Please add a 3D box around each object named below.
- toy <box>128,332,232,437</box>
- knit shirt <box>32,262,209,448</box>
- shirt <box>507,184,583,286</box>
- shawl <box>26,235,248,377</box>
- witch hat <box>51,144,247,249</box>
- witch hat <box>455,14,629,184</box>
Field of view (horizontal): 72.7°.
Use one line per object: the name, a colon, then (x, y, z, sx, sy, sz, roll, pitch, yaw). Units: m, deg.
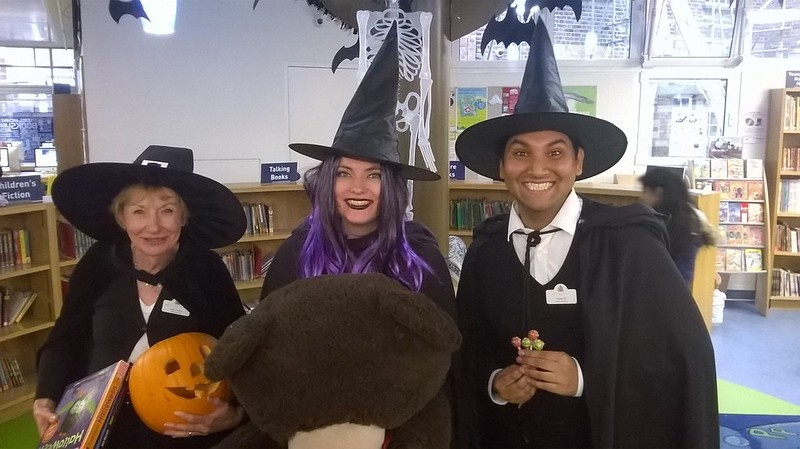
toy: (-1.497, 1.017, 3.669, 0.604, 0.464, 0.588, -21, -8, -3)
knit shirt: (-1.784, 0.876, 3.573, 1.393, 1.230, 0.720, 0, 1, 1)
shirt: (0.989, 0.079, 3.906, 0.545, 0.628, 0.370, 9, -3, 0)
shawl: (-1.816, 0.687, 3.892, 1.276, 0.892, 0.599, 4, -10, -26)
witch hat: (-1.718, -0.201, 3.736, 0.978, 0.343, 0.844, 16, -22, -30)
witch hat: (0.937, -0.779, 4.301, 1.339, 1.143, 1.217, 0, -8, 4)
